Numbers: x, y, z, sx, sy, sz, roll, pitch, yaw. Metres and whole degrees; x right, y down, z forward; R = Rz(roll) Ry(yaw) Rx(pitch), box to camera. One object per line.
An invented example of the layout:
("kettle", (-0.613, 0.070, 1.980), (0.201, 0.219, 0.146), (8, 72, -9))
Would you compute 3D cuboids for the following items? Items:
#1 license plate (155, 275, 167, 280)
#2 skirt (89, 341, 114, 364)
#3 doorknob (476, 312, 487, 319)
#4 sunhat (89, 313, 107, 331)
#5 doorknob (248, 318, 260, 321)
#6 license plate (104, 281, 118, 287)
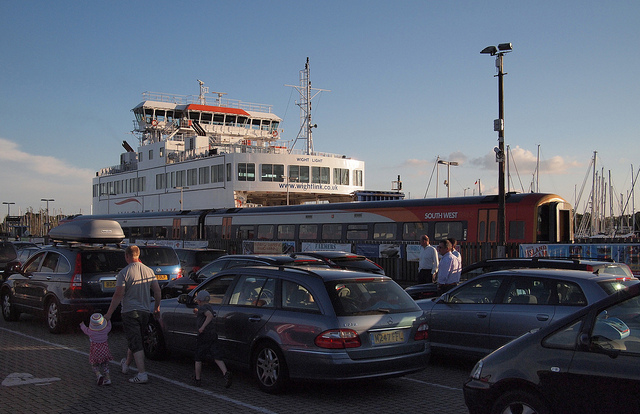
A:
("license plate", (-4.383, 1.925, 16.545), (0.111, 0.138, 0.336), (-6, 3, 40))
("skirt", (-3.979, 2.619, 11.032), (0.464, 0.418, 0.351), (5, -12, -43))
("doorknob", (3.128, 2.097, 11.617), (0.056, 0.109, 0.218), (-11, 4, -43))
("sunhat", (-4.030, 2.074, 10.852), (0.316, 0.334, 0.236), (-9, 2, -9))
("doorknob", (-1.170, 2.000, 10.667), (0.221, 0.042, 0.016), (-6, 3, 34))
("license plate", (-5.243, 1.921, 15.009), (0.262, 0.140, 0.143), (-8, 2, -3))
